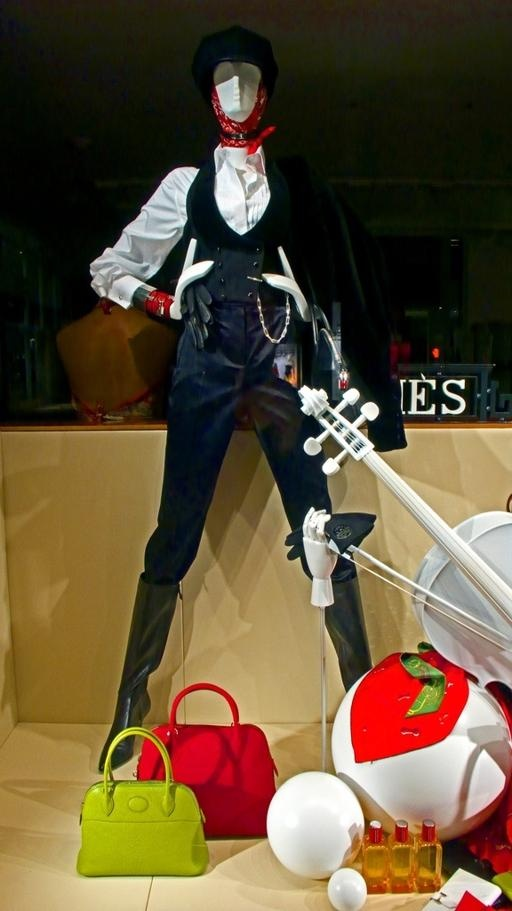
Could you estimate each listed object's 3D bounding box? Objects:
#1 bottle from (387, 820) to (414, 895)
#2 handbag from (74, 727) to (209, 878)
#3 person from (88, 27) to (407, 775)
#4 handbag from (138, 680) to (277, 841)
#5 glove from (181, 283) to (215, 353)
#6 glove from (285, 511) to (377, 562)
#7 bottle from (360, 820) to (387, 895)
[{"bbox_3d":[0.300,0.820,1.374,0.053,0.169,0.038,-1,10,13],"label":"bottle"},{"bbox_3d":[-0.244,0.771,1.477,0.325,0.361,0.132,-1,-4,-3],"label":"handbag"},{"bbox_3d":[-0.049,-0.105,1.803,0.900,1.841,0.261,-5,9,-10],"label":"person"},{"bbox_3d":[-0.120,0.731,1.606,0.330,0.329,0.125,0,-18,-3],"label":"handbag"},{"bbox_3d":[-0.144,-0.335,1.643,0.048,0.142,0.094,6,39,44],"label":"glove"},{"bbox_3d":[0.177,0.191,1.466,0.144,0.045,0.125,-17,38,-5],"label":"glove"},{"bbox_3d":[0.253,0.819,1.429,0.054,0.152,0.112,-2,10,8],"label":"bottle"}]
